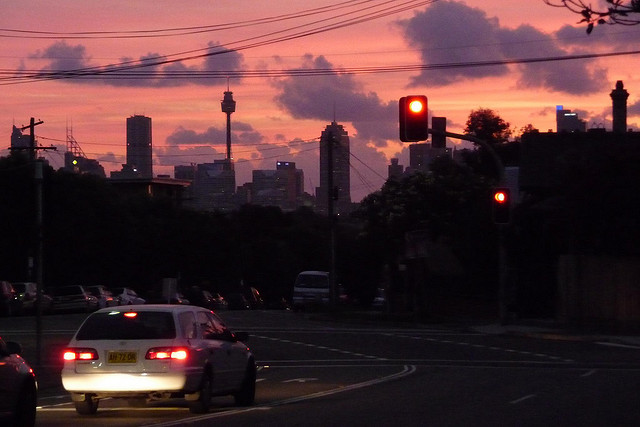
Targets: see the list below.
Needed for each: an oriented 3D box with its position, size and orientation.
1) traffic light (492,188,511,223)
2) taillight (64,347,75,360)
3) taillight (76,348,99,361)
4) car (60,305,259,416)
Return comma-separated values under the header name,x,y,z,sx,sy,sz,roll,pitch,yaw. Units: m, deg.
name,x,y,z,sx,sy,sz,roll,pitch,yaw
traffic light,7.494,-0.339,44.969,0.724,1.421,0.404,-2,-1,1
taillight,-6.679,3.695,29.035,0.152,0.314,0.430,-1,-2,-42
taillight,-6.146,3.709,28.860,0.500,0.165,0.343,-3,1,-15
car,-4.333,4.189,31.706,3.954,2.518,6.825,-3,-5,14
